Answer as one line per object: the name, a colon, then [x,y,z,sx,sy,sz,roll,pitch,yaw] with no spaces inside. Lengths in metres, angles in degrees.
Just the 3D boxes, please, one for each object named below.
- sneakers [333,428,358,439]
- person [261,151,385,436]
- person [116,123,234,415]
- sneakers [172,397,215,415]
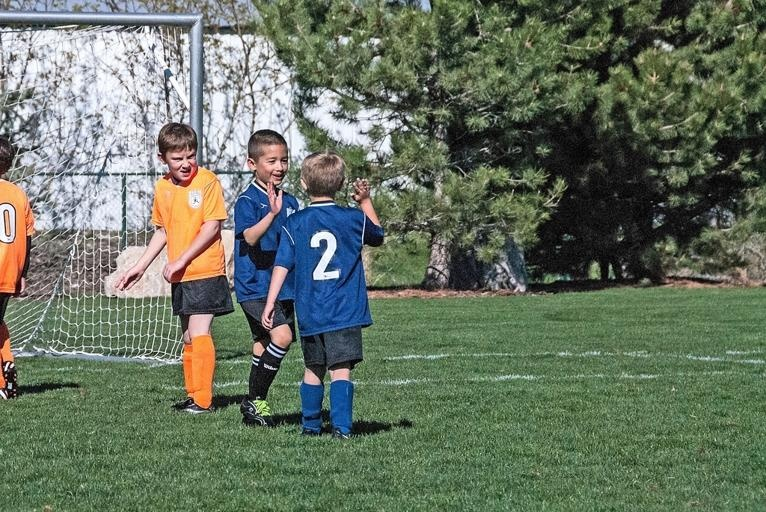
sneakers: [-0.381,1.793,10.780,0.236,0.121,0.091,3,1,-11]
person: [-0.568,0.388,10.799,0.967,2.816,0.715,5,13,25]
person: [-2.099,0.133,11.494,0.974,3.072,0.799,4,13,20]
sneakers: [-2.052,1.628,11.425,0.448,0.228,0.175,10,-6,-1]
